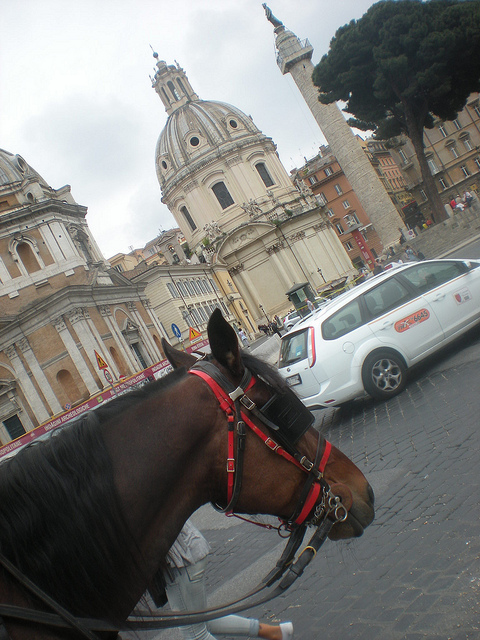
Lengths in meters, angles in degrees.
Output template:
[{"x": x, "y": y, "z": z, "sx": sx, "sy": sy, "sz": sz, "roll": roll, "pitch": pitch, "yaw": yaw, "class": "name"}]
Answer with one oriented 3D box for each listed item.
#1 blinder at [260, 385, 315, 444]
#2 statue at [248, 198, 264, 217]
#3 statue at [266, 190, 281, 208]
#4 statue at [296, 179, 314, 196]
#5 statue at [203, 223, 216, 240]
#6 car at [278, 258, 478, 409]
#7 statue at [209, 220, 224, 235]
[{"x": 0.186, "y": 0.368, "z": 2.057, "sx": 0.203, "sy": 0.212, "sz": 0.064, "roll": -38, "pitch": 1, "yaw": -40, "class": "blinder"}, {"x": 1.716, "y": -13.418, "z": 63.608, "sx": 1.413, "sy": 2.634, "sz": 0.773, "roll": -34, "pitch": 0, "yaw": -44, "class": "statue"}, {"x": 3.900, "y": -14.699, "z": 64.502, "sx": 0.945, "sy": 2.505, "sz": 2.177, "roll": -34, "pitch": 0, "yaw": 13, "class": "statue"}, {"x": 7.921, "y": -16.682, "z": 67.677, "sx": 1.006, "sy": 2.611, "sz": 2.128, "roll": -34, "pitch": -1, "yaw": 32, "class": "statue"}, {"x": -3.574, "y": -10.677, "z": 64.641, "sx": 1.038, "sy": 2.307, "sz": 1.033, "roll": -34, "pitch": 0, "yaw": 3, "class": "statue"}, {"x": 2.243, "y": -0.066, "z": 8.812, "sx": 3.943, "sy": 1.388, "sz": 1.774, "roll": -30, "pitch": -2, "yaw": -12, "class": "car"}, {"x": -2.769, "y": -11.079, "z": 64.590, "sx": 0.435, "sy": 1.578, "sz": 1.152, "roll": -36, "pitch": 10, "yaw": -11, "class": "statue"}]
